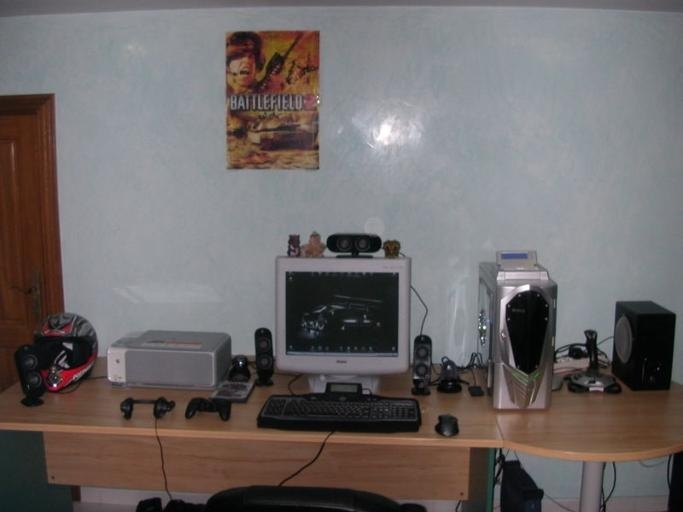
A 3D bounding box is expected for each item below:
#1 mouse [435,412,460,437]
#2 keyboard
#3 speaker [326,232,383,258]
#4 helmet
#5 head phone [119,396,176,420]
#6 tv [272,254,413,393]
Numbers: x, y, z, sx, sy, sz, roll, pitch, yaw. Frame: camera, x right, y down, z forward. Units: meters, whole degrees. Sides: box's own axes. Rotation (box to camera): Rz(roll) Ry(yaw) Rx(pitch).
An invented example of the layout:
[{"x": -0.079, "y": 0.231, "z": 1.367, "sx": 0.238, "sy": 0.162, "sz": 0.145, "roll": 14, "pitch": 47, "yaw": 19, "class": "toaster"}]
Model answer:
[{"x": 0.470, "y": 0.754, "z": 2.731, "sx": 0.075, "sy": 0.045, "sz": 0.099, "roll": 2, "pitch": 7, "yaw": 1, "class": "mouse"}, {"x": -0.010, "y": 0.714, "z": 2.792, "sx": 0.726, "sy": 0.128, "sz": 0.197, "roll": 1, "pitch": 2, "yaw": 0, "class": "keyboard"}, {"x": 0.065, "y": -0.059, "z": 3.093, "sx": 0.266, "sy": 0.113, "sz": 0.180, "roll": 1, "pitch": 2, "yaw": -1, "class": "speaker"}, {"x": -1.417, "y": 0.464, "z": 3.160, "sx": 0.301, "sy": 0.359, "sz": 0.408, "roll": 2, "pitch": 7, "yaw": -8, "class": "helmet"}, {"x": -0.895, "y": 0.696, "z": 2.862, "sx": 0.239, "sy": 0.098, "sz": 0.185, "roll": 1, "pitch": 2, "yaw": 2, "class": "head phone"}, {"x": 0.010, "y": 0.319, "z": 3.164, "sx": 0.670, "sy": 0.705, "sz": 0.402, "roll": 0, "pitch": 12, "yaw": -1, "class": "tv"}]
